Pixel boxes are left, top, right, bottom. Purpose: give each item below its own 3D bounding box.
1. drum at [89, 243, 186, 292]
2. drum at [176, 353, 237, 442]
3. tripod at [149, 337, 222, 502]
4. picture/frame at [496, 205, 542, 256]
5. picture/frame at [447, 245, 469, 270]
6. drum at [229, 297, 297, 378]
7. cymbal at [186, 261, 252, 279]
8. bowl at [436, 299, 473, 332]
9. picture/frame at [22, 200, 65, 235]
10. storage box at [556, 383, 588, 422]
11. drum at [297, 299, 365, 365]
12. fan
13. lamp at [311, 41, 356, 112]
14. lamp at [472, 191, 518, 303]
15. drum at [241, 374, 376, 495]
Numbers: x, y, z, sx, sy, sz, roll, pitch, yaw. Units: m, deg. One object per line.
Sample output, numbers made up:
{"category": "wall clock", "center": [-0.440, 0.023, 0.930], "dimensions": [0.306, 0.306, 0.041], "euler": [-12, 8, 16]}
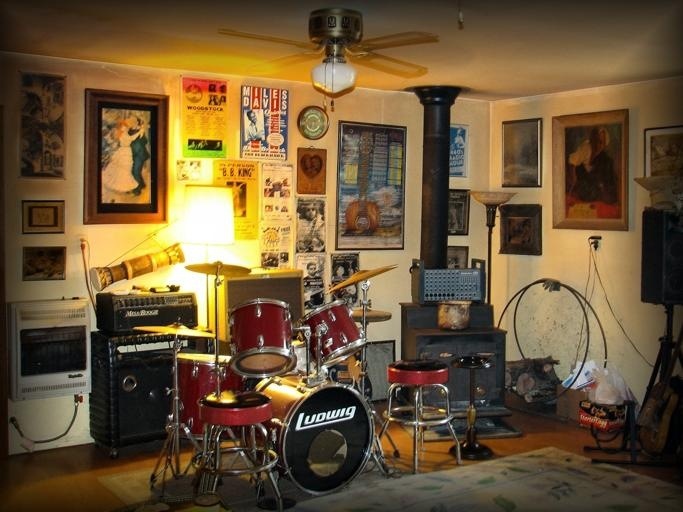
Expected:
{"category": "drum", "center": [-1.738, 0.084, 5.480], "dimensions": [0.922, 0.322, 0.312], "euler": [-18, -8, -24]}
{"category": "drum", "center": [-1.081, 1.031, 4.775], "dimensions": [0.636, 0.588, 0.607], "euler": [1, 4, -20]}
{"category": "tripod", "center": [-1.210, 1.142, 4.618], "dimensions": [0.524, 1.243, 1.043], "euler": [-2, 8, -18]}
{"category": "picture/frame", "center": [2.020, -0.299, 6.823], "dimensions": [0.093, 0.653, 0.607], "euler": [3, -2, -42]}
{"category": "picture/frame", "center": [1.315, 0.010, 6.913], "dimensions": [0.270, 0.213, 0.021], "euler": [-2, 6, -19]}
{"category": "drum", "center": [-0.544, 0.600, 4.240], "dimensions": [0.452, 0.628, 0.390], "euler": [-2, 8, -17]}
{"category": "cymbal", "center": [-0.998, 0.099, 4.728], "dimensions": [0.269, 0.062, 0.271], "euler": [-2, -10, 33]}
{"category": "bowl", "center": [1.079, 0.561, 5.818], "dimensions": [0.291, 0.262, 0.287], "euler": [3, 1, 0]}
{"category": "picture/frame", "center": [-2.535, -0.334, 5.162], "dimensions": [0.298, 0.276, 0.068], "euler": [-1, 7, -27]}
{"category": "storage box", "center": [2.234, 1.460, 6.002], "dimensions": [0.310, 0.286, 0.288], "euler": [8, -13, 3]}
{"category": "drum", "center": [-0.164, 0.586, 4.555], "dimensions": [0.478, 0.406, 0.467], "euler": [-29, -7, -12]}
{"category": "fan", "center": [-0.081, -1.503, 4.238], "dimensions": [0.724, 0.157, 0.697], "euler": [6, -8, -37]}
{"category": "lamp", "center": [-0.054, -1.129, 3.805], "dimensions": [0.267, 0.394, 0.265], "euler": [0, 7, -4]}
{"category": "lamp", "center": [1.687, -0.082, 6.842], "dimensions": [0.481, 1.309, 0.673], "euler": [2, 8, 14]}
{"category": "drum", "center": [-0.170, 1.307, 4.656], "dimensions": [1.013, 0.998, 0.816], "euler": [9, -2, -18]}
